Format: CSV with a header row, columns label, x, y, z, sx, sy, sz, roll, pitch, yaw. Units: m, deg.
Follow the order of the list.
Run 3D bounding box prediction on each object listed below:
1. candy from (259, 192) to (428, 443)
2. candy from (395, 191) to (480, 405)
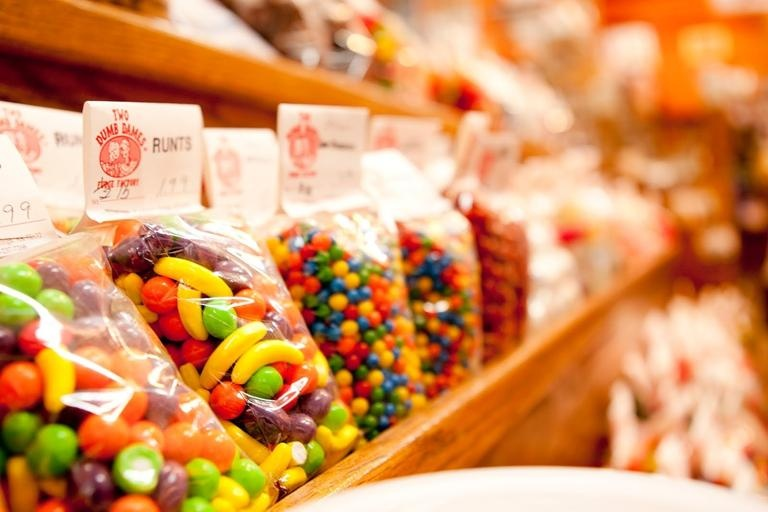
label,x,y,z,sx,sy,sz,roll,pitch,yaw
candy,-0.064,0.091,1.259,0.269,0.395,0.432,8,-82,48
candy,0.130,0.113,1.449,0.128,0.194,0.445,-2,-76,1
